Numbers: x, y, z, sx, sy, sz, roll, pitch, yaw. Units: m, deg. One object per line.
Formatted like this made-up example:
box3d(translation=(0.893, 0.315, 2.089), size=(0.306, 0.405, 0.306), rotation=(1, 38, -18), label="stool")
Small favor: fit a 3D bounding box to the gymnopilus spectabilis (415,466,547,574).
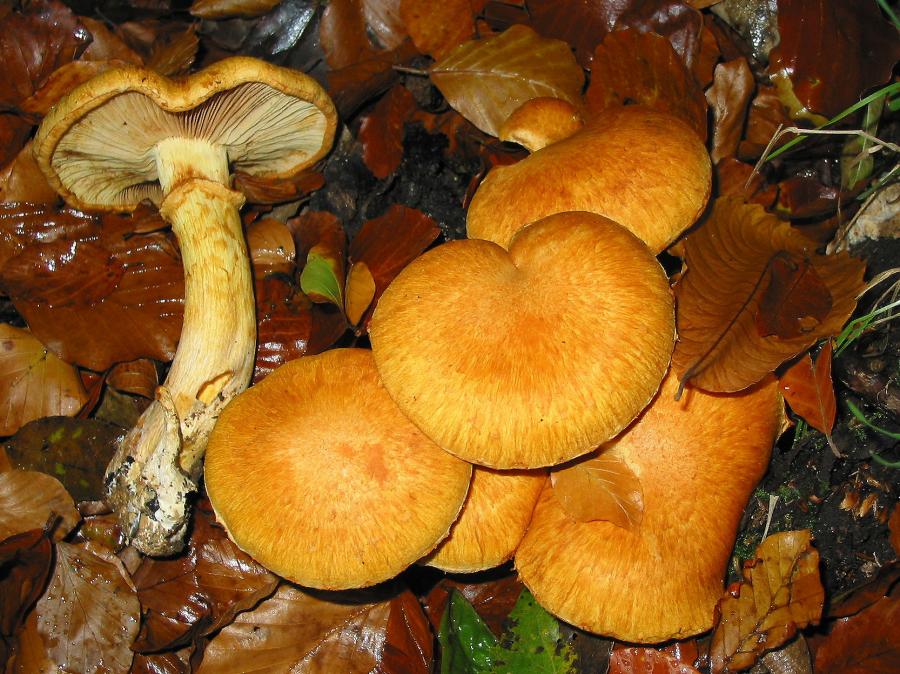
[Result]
box3d(translation=(0.199, 0.931, 4.867), size=(0.460, 0.191, 0.587), rotation=(34, 92, 21), label="gymnopilus spectabilis")
